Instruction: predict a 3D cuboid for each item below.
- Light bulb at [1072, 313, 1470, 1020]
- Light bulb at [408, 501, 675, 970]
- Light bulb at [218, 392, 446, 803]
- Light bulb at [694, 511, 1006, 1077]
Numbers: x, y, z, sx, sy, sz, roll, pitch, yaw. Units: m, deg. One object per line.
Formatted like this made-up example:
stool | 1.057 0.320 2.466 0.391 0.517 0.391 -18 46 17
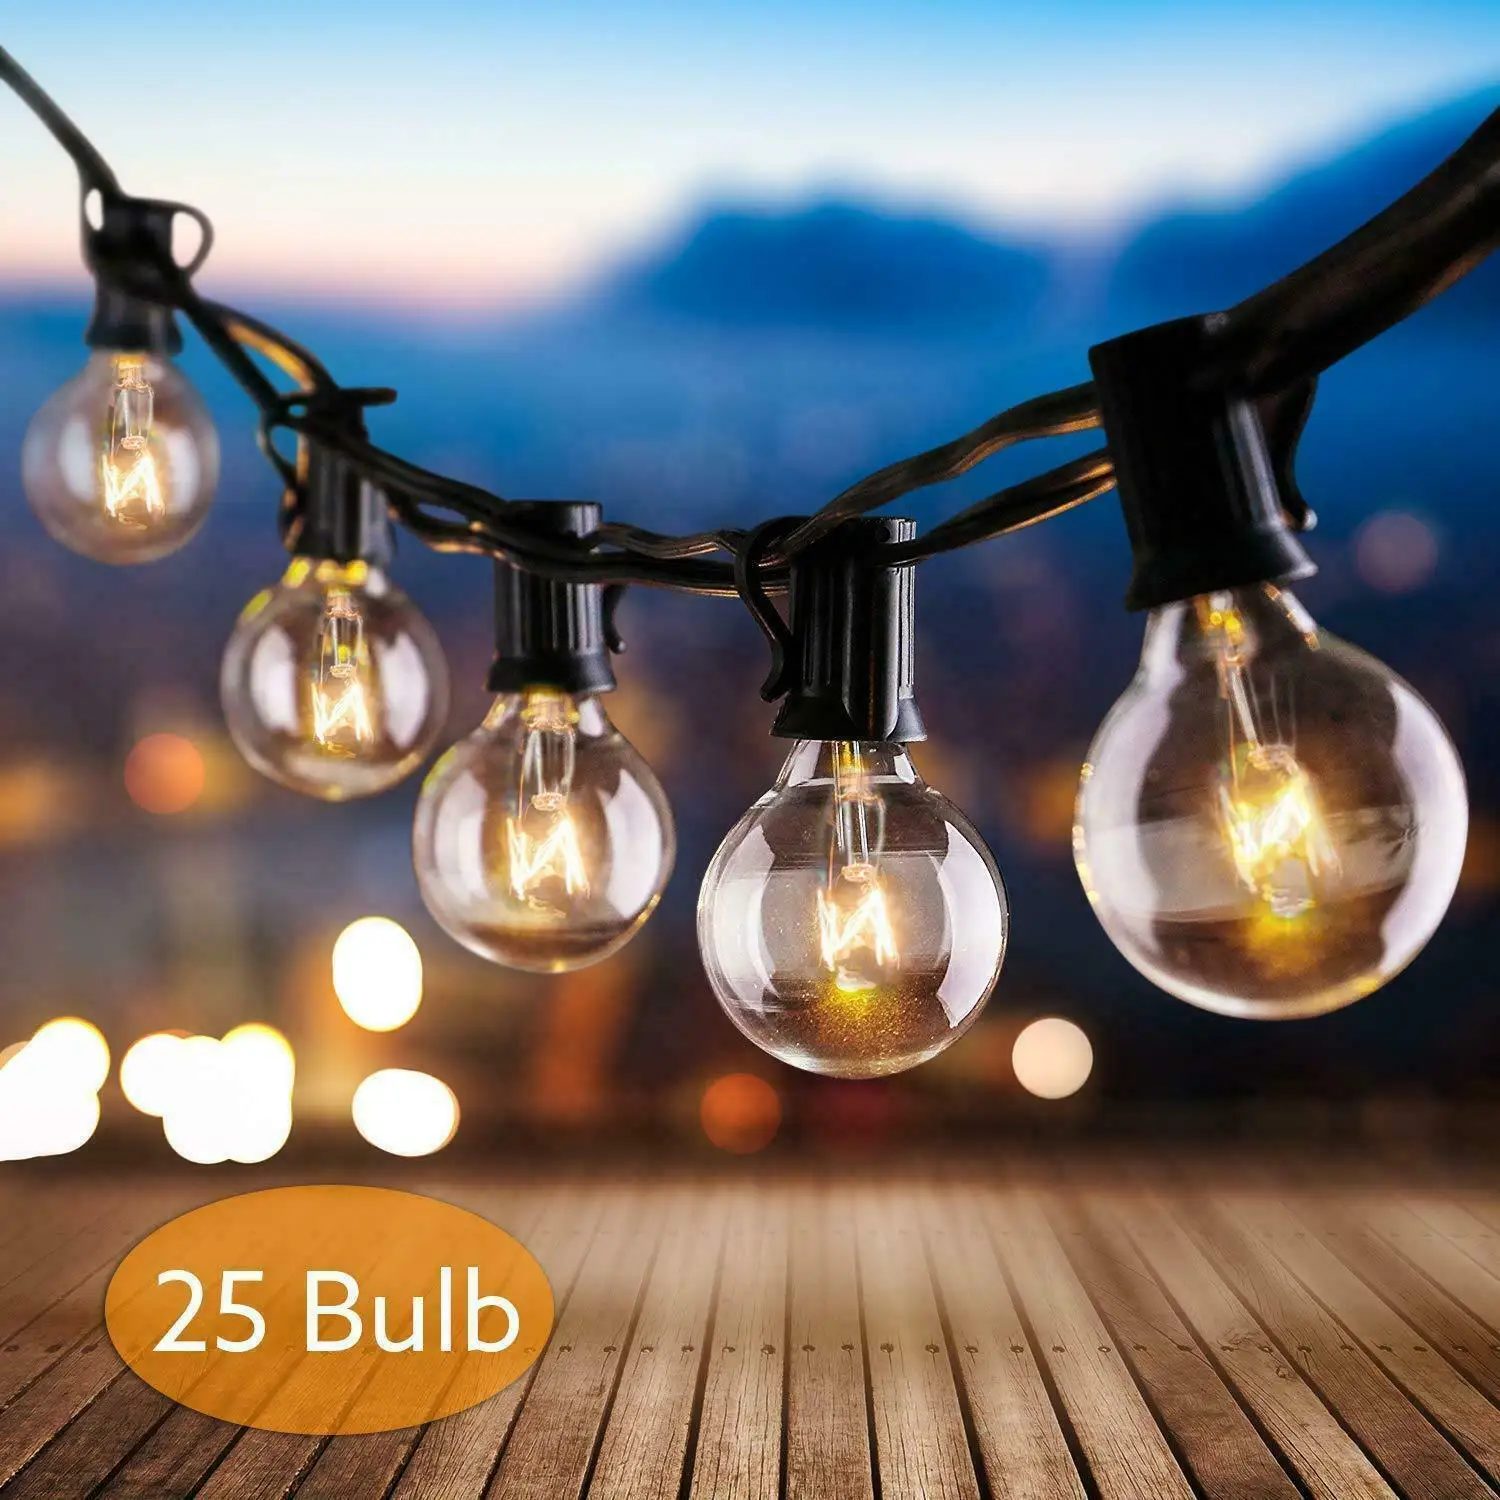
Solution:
Light bulb | 0.239 -0.032 0.764 0.174 0.325 0.058 1 5 5
Light bulb | -0.122 -0.006 0.997 0.155 0.282 0.094 0 5 -9
Light bulb | -0.264 -0.082 1.106 0.140 0.227 0.140 -3 6 -32
Light bulb | 0.056 0.027 0.892 0.166 0.303 0.083 0 5 -2
